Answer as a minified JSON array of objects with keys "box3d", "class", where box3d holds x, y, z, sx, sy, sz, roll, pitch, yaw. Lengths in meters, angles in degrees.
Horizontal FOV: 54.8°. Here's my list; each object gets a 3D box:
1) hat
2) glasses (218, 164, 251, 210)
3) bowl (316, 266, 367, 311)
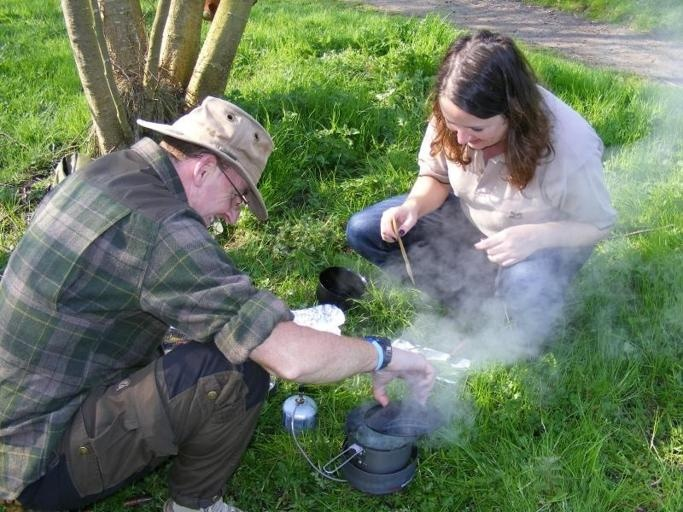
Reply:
[{"box3d":[-0.597,-0.562,3.191,0.352,0.724,0.544,-51,25,-3],"class":"hat"},{"box3d":[-0.511,-0.326,3.135,0.041,0.141,0.150,-23,70,6],"class":"glasses"},{"box3d":[0.054,0.252,4.334,0.202,0.106,0.275,-18,36,2],"class":"bowl"}]
